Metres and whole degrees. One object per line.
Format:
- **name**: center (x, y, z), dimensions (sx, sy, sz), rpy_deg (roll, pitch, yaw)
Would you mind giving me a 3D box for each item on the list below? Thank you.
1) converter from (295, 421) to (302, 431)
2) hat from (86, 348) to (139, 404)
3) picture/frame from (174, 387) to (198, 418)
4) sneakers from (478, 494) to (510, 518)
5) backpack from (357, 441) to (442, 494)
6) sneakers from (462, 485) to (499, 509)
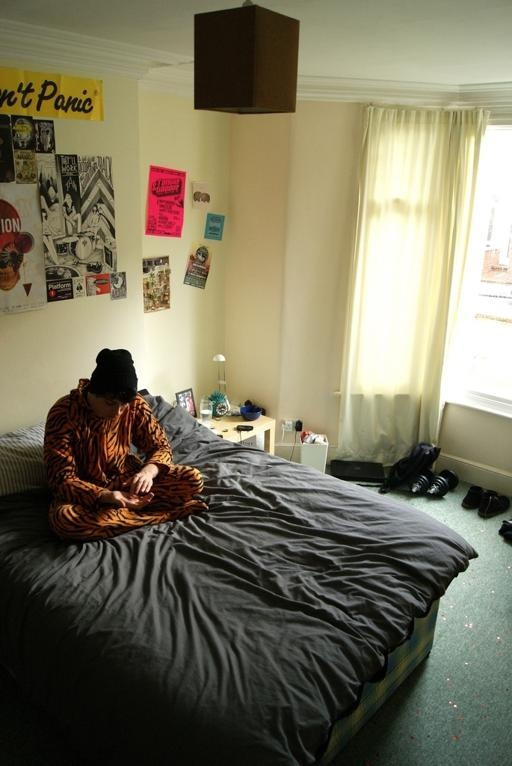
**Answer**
- **converter**: center (0.310, 0.313, 3.744), dimensions (0.047, 0.090, 0.048), rpy_deg (1, 40, 3)
- **hat**: center (-0.554, -0.024, 1.993), dimensions (0.200, 0.231, 0.235), rpy_deg (-1, -13, -21)
- **picture/frame**: center (-0.473, 0.126, 3.355), dimensions (0.014, 0.184, 0.204), rpy_deg (-12, -6, 31)
- **sneakers**: center (1.571, 0.769, 3.344), dimensions (0.106, 0.146, 0.306), rpy_deg (8, 21, 38)
- **backpack**: center (1.070, 0.597, 3.586), dimensions (0.380, 0.166, 0.291), rpy_deg (-21, 41, 6)
- **sneakers**: center (1.491, 0.736, 3.419), dimensions (0.102, 0.117, 0.289), rpy_deg (4, 12, 38)
